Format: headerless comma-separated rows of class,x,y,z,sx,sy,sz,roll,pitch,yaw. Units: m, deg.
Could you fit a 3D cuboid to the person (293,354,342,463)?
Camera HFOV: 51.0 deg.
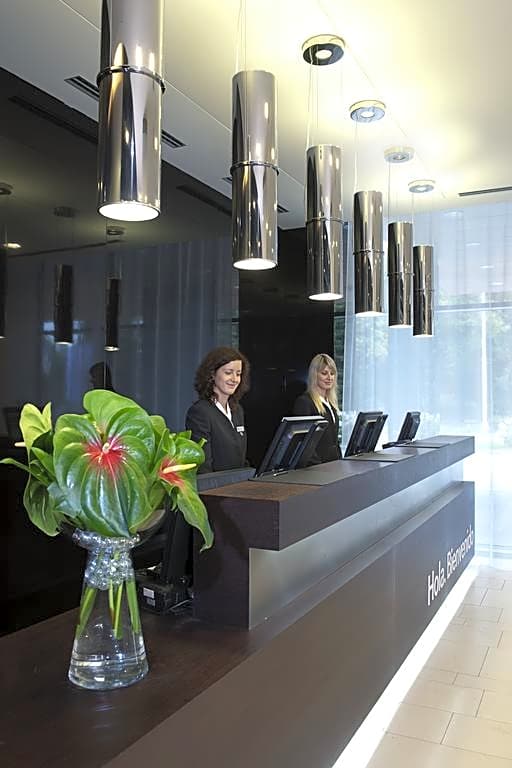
person,0.516,0.395,4.192,0.220,1.259,0.340,9,15,43

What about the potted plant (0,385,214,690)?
potted plant,-0.301,0.304,1.019,0.358,0.566,0.333,-3,-7,36

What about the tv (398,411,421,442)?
tv,1.258,0.366,4.451,0.131,0.264,0.532,-1,-7,26

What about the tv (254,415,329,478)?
tv,0.172,0.261,2.270,0.237,0.246,0.493,0,-6,16
